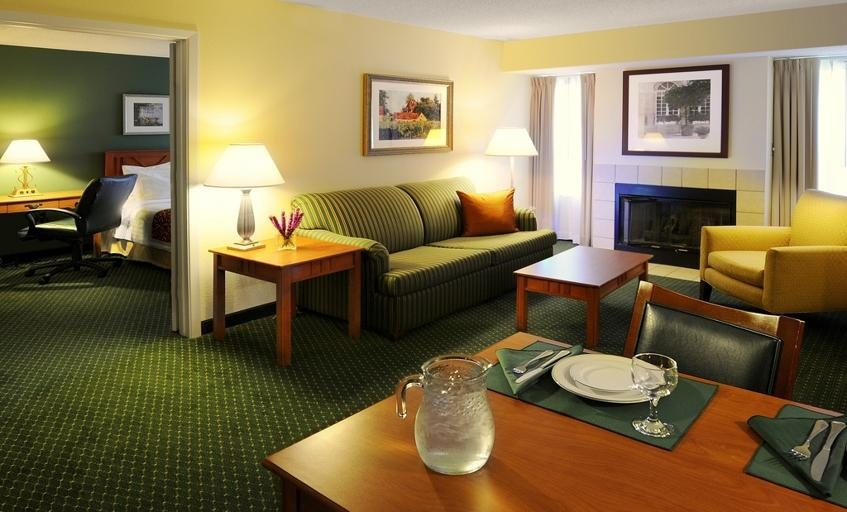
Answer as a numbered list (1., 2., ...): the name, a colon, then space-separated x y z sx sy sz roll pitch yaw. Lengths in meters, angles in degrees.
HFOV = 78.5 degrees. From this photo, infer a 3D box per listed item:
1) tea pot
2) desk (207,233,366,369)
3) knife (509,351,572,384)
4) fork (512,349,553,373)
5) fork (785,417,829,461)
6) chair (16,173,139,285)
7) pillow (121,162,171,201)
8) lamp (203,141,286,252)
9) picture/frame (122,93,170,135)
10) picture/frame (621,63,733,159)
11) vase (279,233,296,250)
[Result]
1. tea pot: 0.061 0.540 1.901 0.421 0.390 0.317 -2 7 -6
2. desk: -1.139 0.233 4.719 1.133 1.018 1.148 7 9 38
3. knife: 0.495 0.473 2.185 0.042 0.013 0.294 11 20 42
4. fork: 0.468 0.453 2.222 0.035 0.020 0.251 10 16 36
5. fork: 1.371 0.655 1.843 0.313 0.038 0.074 -19 25 -41
6. chair: -4.256 -0.469 6.713 1.428 1.526 1.435 6 9 11
7. pillow: -3.679 -0.957 6.850 0.563 0.518 0.160 5 -24 -24
8. lamp: -1.593 -0.551 4.696 0.883 1.051 0.858 -4 11 -31
9. picture/frame: -4.150 -2.097 7.726 0.096 0.587 0.728 10 19 36
10. picture/frame: 3.250 -1.841 6.518 1.249 1.015 0.046 4 9 38
11. vase: -1.165 -0.119 4.436 0.127 0.118 0.124 1 10 -2
